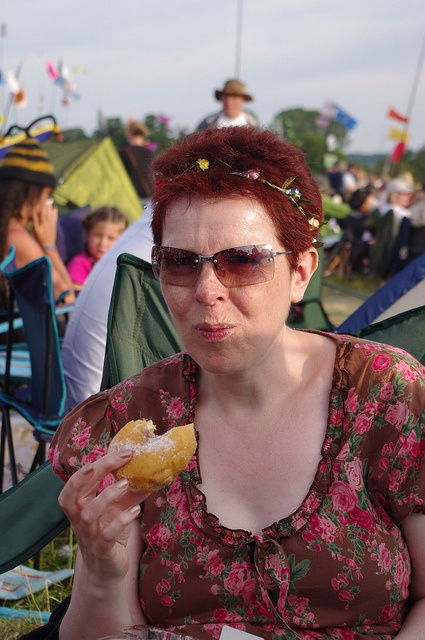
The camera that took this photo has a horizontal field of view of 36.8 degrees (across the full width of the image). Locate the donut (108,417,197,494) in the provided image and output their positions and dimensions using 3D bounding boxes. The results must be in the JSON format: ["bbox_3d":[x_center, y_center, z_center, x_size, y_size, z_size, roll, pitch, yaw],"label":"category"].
[{"bbox_3d":[-0.137,0.260,1.238,0.133,0.127,0.186,0,-5,42],"label":"donut"}]

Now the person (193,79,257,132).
[{"bbox_3d":[0.216,-2.473,7.634,0.643,0.702,0.445,13,26,6],"label":"person"}]
